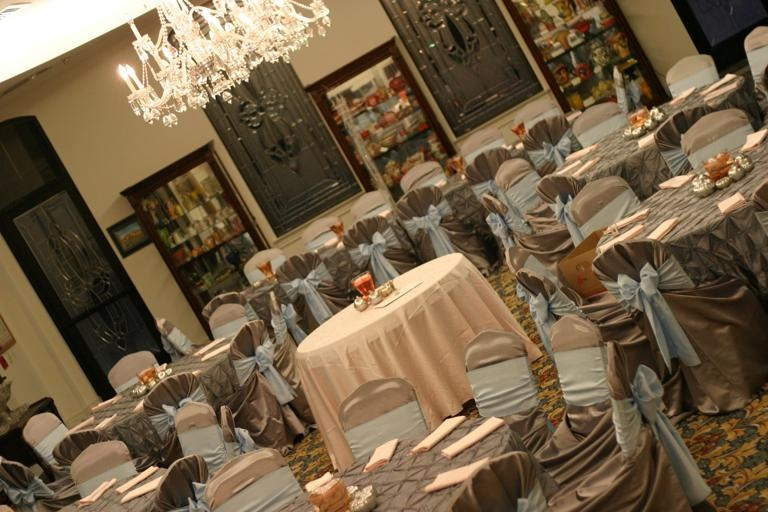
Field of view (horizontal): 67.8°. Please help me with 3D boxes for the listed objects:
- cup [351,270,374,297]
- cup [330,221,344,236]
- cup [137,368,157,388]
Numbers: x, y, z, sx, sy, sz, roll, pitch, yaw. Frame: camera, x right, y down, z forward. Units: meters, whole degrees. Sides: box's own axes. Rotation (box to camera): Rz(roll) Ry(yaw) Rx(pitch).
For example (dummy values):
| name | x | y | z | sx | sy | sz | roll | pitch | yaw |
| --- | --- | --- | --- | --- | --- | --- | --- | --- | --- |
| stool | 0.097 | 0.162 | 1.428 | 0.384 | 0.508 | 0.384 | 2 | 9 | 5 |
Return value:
| name | x | y | z | sx | sy | sz | roll | pitch | yaw |
| --- | --- | --- | --- | --- | --- | --- | --- | --- | --- |
| cup | -0.187 | 0.272 | 5.383 | 0.166 | 0.219 | 0.309 | -27 | 3 | -7 |
| cup | -0.630 | -0.391 | 7.851 | 0.172 | 0.201 | 0.184 | 3 | -6 | 0 |
| cup | -2.659 | 1.372 | 6.418 | 0.171 | 0.170 | 0.173 | -5 | 3 | 0 |
